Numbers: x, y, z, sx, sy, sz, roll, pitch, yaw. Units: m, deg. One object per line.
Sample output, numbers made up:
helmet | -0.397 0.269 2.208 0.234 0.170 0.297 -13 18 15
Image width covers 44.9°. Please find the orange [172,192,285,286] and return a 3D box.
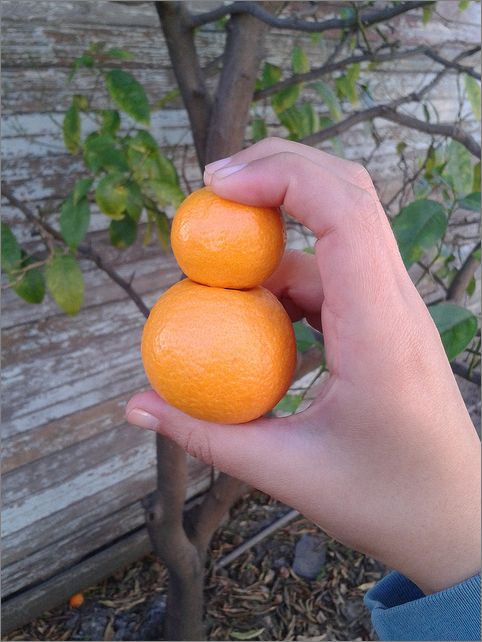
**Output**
orange | -0.023 -0.146 1.028 0.196 0.143 0.177 9 45 4
